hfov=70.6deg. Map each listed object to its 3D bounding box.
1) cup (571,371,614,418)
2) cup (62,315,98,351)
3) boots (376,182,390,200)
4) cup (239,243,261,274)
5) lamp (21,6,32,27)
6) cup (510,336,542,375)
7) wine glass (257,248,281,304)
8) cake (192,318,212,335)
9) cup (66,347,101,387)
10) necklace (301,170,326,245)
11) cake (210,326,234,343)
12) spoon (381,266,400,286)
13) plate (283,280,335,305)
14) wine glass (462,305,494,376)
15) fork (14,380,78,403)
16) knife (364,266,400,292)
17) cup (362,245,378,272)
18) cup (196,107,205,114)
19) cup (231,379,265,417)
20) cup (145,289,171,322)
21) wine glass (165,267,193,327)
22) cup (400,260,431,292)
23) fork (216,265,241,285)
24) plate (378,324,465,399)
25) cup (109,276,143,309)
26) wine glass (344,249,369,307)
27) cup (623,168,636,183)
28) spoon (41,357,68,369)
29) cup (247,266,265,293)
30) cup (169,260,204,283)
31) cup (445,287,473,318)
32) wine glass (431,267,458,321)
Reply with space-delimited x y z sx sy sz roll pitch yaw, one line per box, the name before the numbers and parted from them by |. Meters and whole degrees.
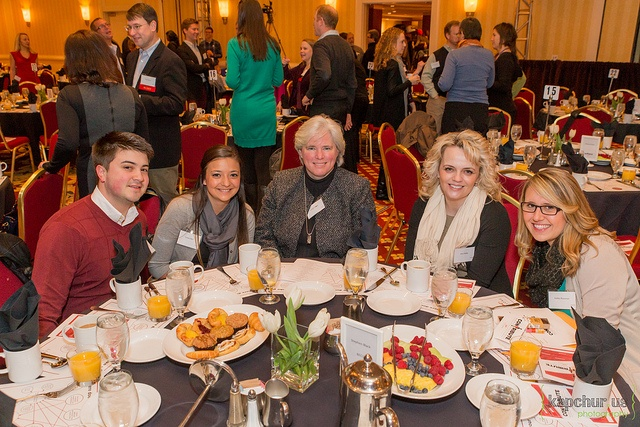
cup | 0.988 0.668 1.691 0.112 0.142 0.137 0 4 1
cup | -0.978 0.496 1.853 0.137 0.105 0.092 -8 22 -15
boots | 0.780 -0.271 5.749 0.147 0.326 0.167 -1 9 0
cup | -0.374 0.228 2.418 0.096 0.151 0.166 2 25 -5
lamp | -8.799 -5.874 13.561 0.310 0.538 0.169 10 20 24
cup | 0.825 0.592 1.847 0.125 0.149 0.137 6 -10 1
wine glass | -0.242 0.293 2.178 0.111 0.283 0.113 5 15 7
cake | -0.512 0.487 1.948 0.054 0.025 0.057 29 32 0
cup | -0.914 0.607 1.781 0.131 0.120 0.123 -3 6 0
necklace | -0.058 -0.009 2.838 0.197 0.402 0.089 1 -6 7
cake | -0.415 0.503 1.909 0.061 0.037 0.066 4 17 11
spoon | 0.373 0.330 2.375 0.051 0.035 0.085 14 26 -11
plate | -0.035 0.388 2.227 0.164 0.027 0.172 10 21 29
wine glass | 0.640 0.517 1.844 0.116 0.290 0.117 5 10 22
fork | -1.027 0.684 1.704 0.206 0.031 0.041 -6 21 -21
knife | 0.311 0.352 2.343 0.062 0.028 0.332 19 21 21
cup | 0.279 0.239 2.389 0.068 0.131 0.123 -5 18 -4
cup | -1.556 -1.327 5.873 0.110 0.060 0.167 0 16 -9
cup | -0.257 0.654 1.636 0.096 0.128 0.104 1 11 0
cup | -0.733 0.430 2.106 0.109 0.112 0.119 7 11 -1
wine glass | -0.634 0.394 2.065 0.106 0.265 0.104 2 14 -10
cup | 0.484 0.318 2.328 0.098 0.124 0.160 -6 11 -27
fork | -0.483 0.326 2.407 0.051 0.034 0.219 -16 30 -23
plate | 0.412 0.597 1.770 0.262 0.061 0.283 1 32 -6
cup | -0.940 0.379 2.186 0.149 0.149 0.101 1 13 -1
wine glass | 0.171 0.294 2.147 0.101 0.266 0.106 7 23 8
cup | 2.398 -0.298 3.569 0.090 0.110 0.091 -3 11 1
spoon | -1.063 0.602 1.817 0.111 0.015 0.036 6 16 27
cup | -0.323 0.334 2.308 0.080 0.106 0.102 -2 11 -7
cup | -0.652 0.285 2.284 0.098 0.120 0.159 10 7 40
cup | 0.653 0.426 2.179 0.101 0.137 0.125 1 7 -1
wine glass | 0.569 0.387 2.087 0.115 0.294 0.118 15 27 37
